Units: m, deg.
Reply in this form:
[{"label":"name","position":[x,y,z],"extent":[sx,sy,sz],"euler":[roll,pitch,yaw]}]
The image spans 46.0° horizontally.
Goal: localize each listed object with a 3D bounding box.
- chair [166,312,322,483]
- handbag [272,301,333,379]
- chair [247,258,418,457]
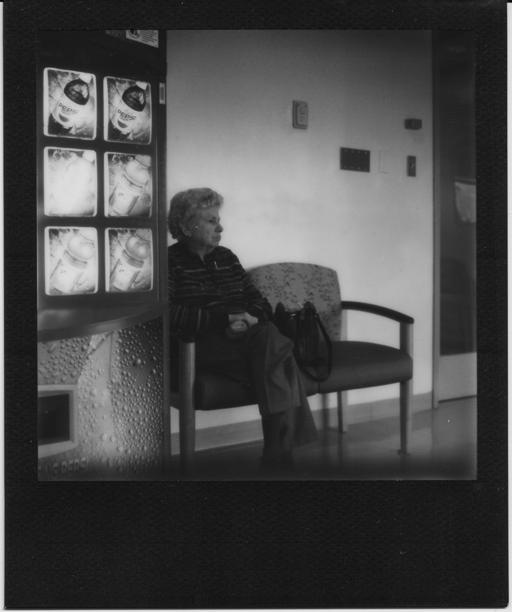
[{"label":"chair","position":[-0.078,0.191,1.777],"extent":[0.286,0.476,0.373],"euler":[6,10,-3]},{"label":"handbag","position":[0.119,0.091,1.731],"extent":[0.152,0.211,0.166],"euler":[-4,13,5]},{"label":"chair","position":[0.199,0.158,1.681],"extent":[0.355,0.587,0.307],"euler":[-8,3,-28]}]
